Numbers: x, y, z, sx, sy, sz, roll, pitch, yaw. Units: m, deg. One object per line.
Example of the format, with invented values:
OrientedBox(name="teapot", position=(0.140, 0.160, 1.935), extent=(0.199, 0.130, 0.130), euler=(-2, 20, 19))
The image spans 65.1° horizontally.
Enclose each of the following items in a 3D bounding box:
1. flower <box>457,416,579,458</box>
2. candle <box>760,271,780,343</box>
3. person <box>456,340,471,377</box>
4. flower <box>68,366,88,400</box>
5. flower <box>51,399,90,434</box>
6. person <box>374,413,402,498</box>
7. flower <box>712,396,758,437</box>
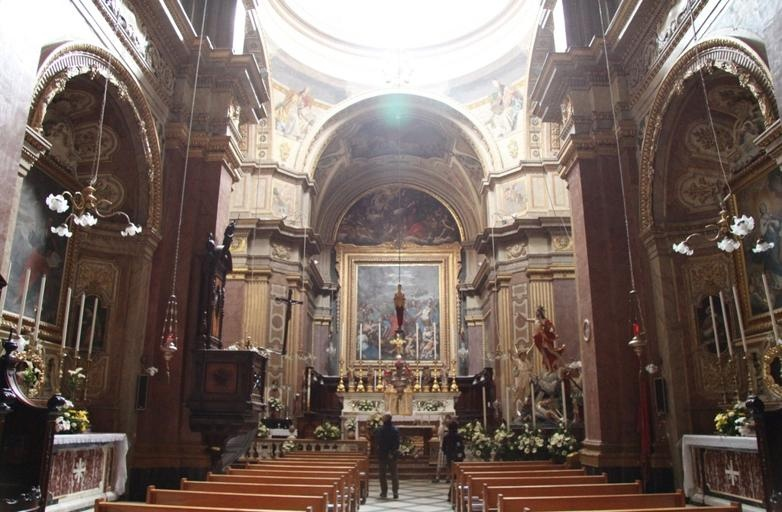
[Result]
OrientedBox(name="flower", position=(2.237, 3.332, 11.026), extent=(2.079, 0.726, 1.219), euler=(-8, -20, 21))
OrientedBox(name="candle", position=(5.784, 0.773, 9.366), extent=(0.160, 1.195, 0.165), euler=(-11, 21, 21))
OrientedBox(name="person", position=(2.553, 3.616, 21.856), extent=(0.326, 1.370, 0.812), euler=(1, -18, -4))
OrientedBox(name="flower", position=(-4.711, 1.945, 9.149), extent=(0.302, 0.499, 0.310), euler=(6, 3, -23))
OrientedBox(name="flower", position=(-4.751, 2.361, 9.154), extent=(0.526, 0.380, 0.508), euler=(6, 18, -6))
OrientedBox(name="person", position=(-0.065, 3.769, 11.552), extent=(0.432, 1.498, 0.634), euler=(0, -18, -1))
OrientedBox(name="flower", position=(4.854, 2.360, 8.777), extent=(0.370, 0.285, 0.406), euler=(-17, -35, 35))
